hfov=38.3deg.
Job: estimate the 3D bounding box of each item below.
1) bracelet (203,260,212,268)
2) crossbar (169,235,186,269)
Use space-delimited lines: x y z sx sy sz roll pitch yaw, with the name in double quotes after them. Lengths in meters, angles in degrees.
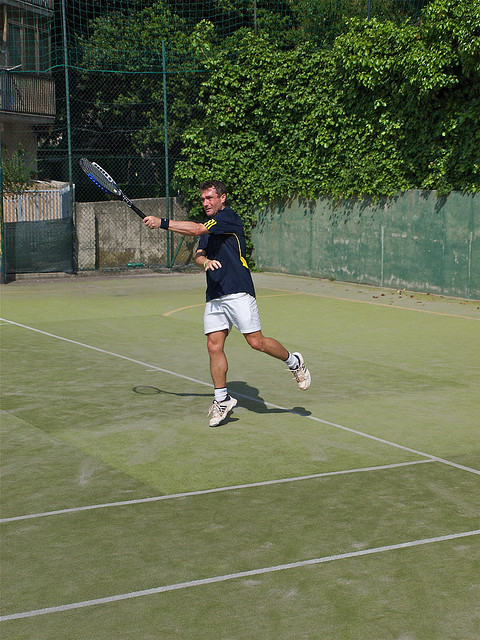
-0.278 -0.471 5.834 0.075 0.070 0.027 4 -15 6 "bracelet"
-2.024 -2.155 22.187 0.512 1.021 0.145 -3 7 -31 "crossbar"
